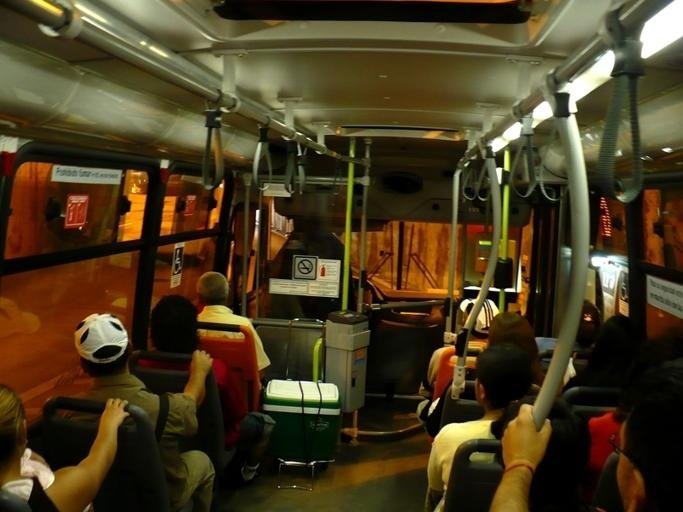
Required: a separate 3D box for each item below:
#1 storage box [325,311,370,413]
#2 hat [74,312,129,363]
[{"bbox_3d":[0.046,1.167,5.537,0.504,1.089,0.300,5,4,-9],"label":"storage box"},{"bbox_3d":[-1.349,0.465,2.844,0.236,0.242,0.228,9,5,38],"label":"hat"}]
